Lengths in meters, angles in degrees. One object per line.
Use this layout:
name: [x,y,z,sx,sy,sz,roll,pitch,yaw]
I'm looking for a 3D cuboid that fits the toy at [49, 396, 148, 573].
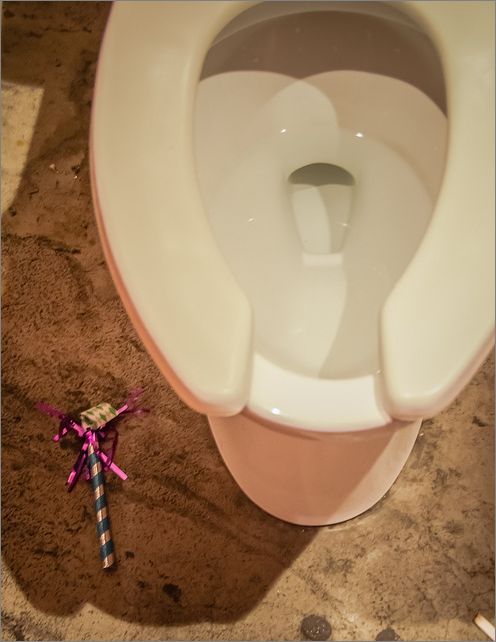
toy: [-0.252,0.266,0.995,0.177,0.045,0.251,-7,72,-11]
